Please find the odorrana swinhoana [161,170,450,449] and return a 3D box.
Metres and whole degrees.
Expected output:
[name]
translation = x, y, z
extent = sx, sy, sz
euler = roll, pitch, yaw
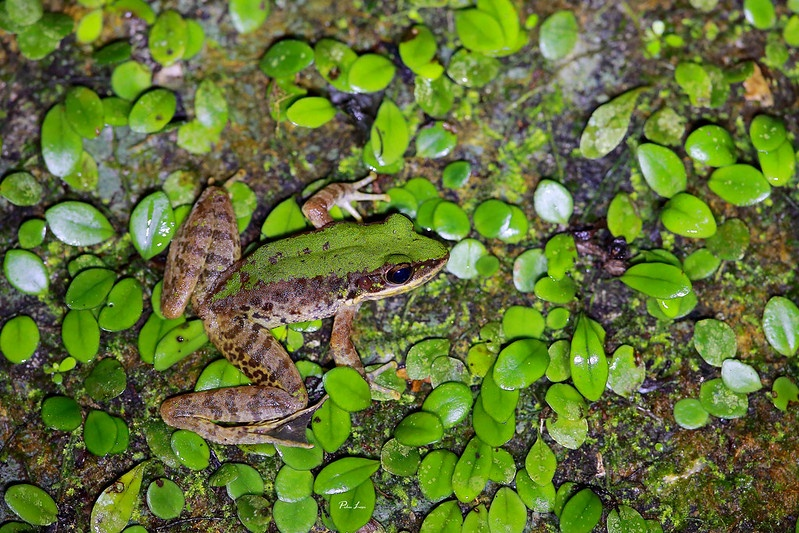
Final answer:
[odorrana swinhoana]
translation = -0.961, 0.357, 7.013
extent = 2.223, 0.773, 2.626
euler = -16, 78, -2
